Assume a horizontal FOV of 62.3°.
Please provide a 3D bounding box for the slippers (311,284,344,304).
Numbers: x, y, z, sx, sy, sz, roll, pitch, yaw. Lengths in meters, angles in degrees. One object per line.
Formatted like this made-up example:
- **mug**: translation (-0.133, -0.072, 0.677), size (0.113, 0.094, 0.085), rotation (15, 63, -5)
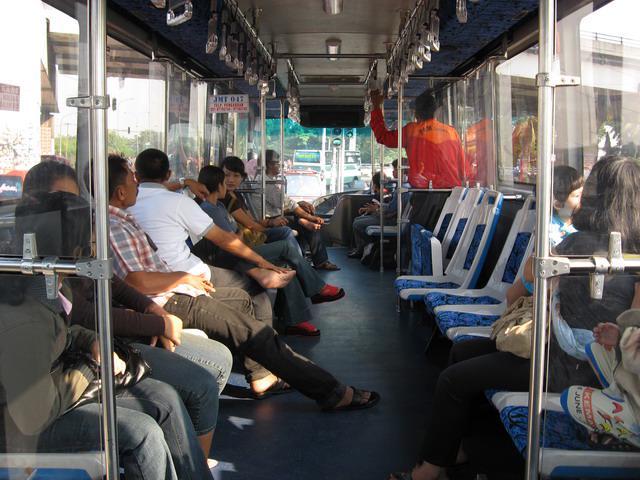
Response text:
- **slippers**: translation (0.081, 0.514, 5.032), size (0.296, 0.133, 0.163), rotation (-12, 10, 8)

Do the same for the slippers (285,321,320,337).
- **slippers**: translation (-0.154, 0.807, 4.830), size (0.355, 0.161, 0.135), rotation (0, 2, 2)

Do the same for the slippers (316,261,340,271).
- **slippers**: translation (0.119, 0.382, 7.876), size (0.310, 0.133, 0.145), rotation (0, 4, 8)

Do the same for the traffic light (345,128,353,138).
- **traffic light**: translation (0.634, -2.341, 11.475), size (0.147, 0.160, 0.042), rotation (2, 3, 1)

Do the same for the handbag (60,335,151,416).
- **handbag**: translation (-0.852, 0.513, 2.081), size (0.248, 0.180, 0.094), rotation (-16, 5, -4)

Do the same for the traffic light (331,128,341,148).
- **traffic light**: translation (0.367, -2.247, 11.608), size (0.274, 0.540, 0.281), rotation (2, 2, 6)

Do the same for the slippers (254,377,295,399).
- **slippers**: translation (-0.326, 1.010, 3.595), size (0.274, 0.093, 0.091), rotation (-4, 9, -30)
